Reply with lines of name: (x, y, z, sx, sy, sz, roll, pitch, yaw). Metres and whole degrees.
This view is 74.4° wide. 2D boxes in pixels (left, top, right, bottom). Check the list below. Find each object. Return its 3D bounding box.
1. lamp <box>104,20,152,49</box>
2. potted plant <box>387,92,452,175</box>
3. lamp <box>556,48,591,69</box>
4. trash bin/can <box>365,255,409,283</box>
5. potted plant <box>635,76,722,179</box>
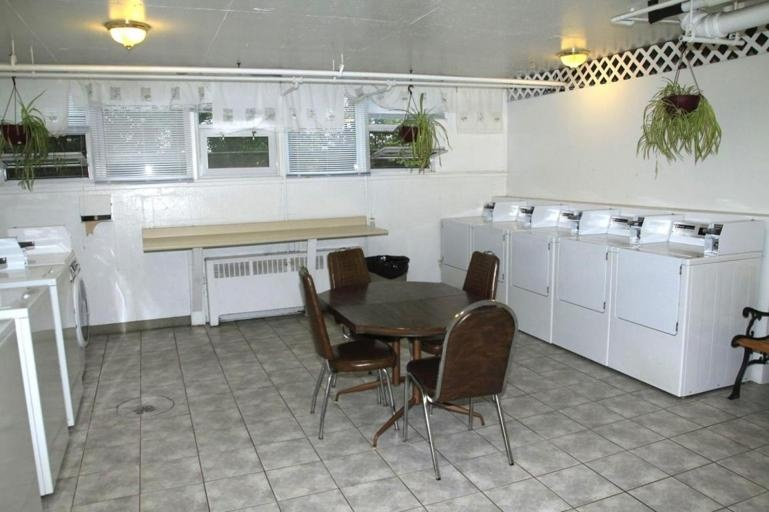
lamp: (-2.262, -1.976, 4.469, 0.241, 0.156, 0.260, 4, 15, 17)
potted plant: (0.514, -1.647, 6.775, 0.717, 1.069, 1.562, 0, 13, 7)
lamp: (2.103, -2.242, 5.763, 0.274, 0.106, 0.266, -7, 11, -22)
trash bin/can: (0.014, 0.145, 6.922, 0.363, 0.492, 0.473, -5, 11, -32)
potted plant: (2.909, -1.331, 5.238, 0.834, 0.866, 0.901, -3, 9, -4)
